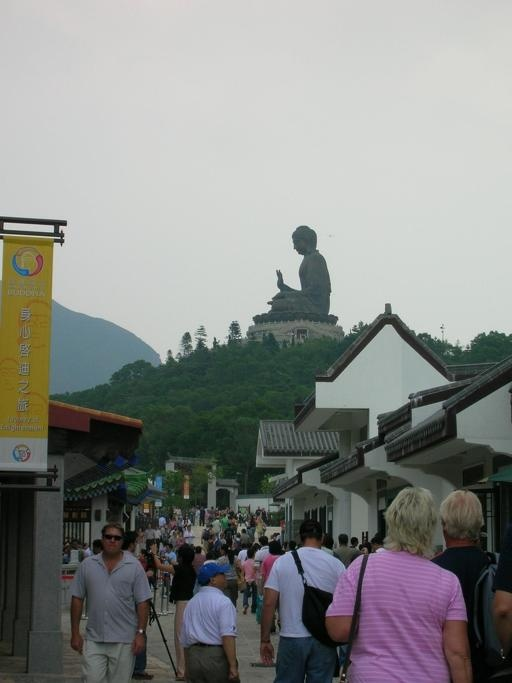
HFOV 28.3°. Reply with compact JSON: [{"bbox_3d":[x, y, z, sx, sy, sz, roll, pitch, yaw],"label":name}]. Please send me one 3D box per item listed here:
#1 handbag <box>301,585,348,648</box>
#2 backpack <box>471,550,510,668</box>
[{"bbox_3d":[0.405,1.810,6.537,0.211,0.419,0.311,-2,11,1],"label":"handbag"},{"bbox_3d":[1.061,1.268,4.574,0.157,0.418,0.422,-1,11,8],"label":"backpack"}]
